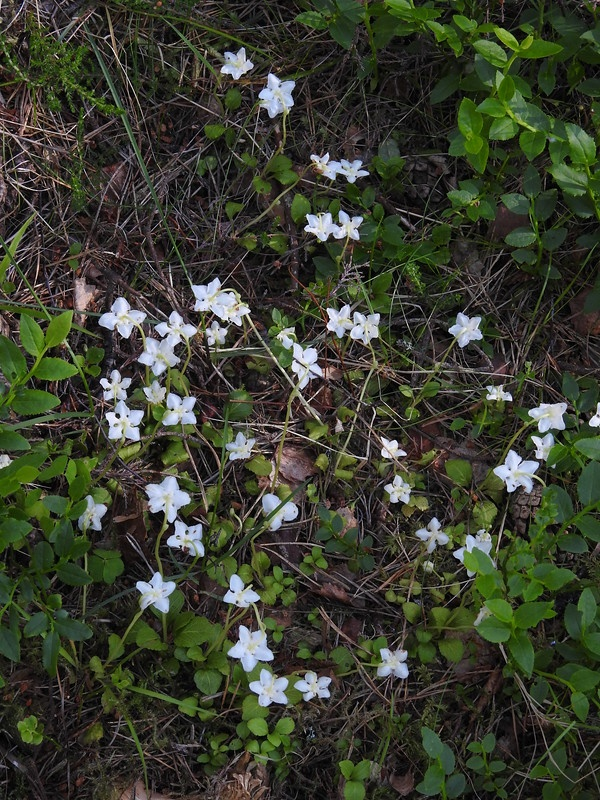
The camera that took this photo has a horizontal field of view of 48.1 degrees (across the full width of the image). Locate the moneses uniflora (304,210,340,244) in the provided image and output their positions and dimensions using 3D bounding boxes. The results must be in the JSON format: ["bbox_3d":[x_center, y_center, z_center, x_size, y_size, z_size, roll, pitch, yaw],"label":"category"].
[{"bbox_3d":[0.082,-0.676,2.573,0.133,0.079,0.126,12,63,-15],"label":"moneses uniflora"}]
